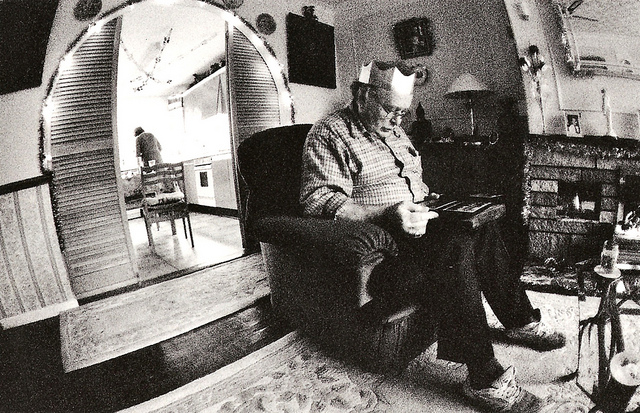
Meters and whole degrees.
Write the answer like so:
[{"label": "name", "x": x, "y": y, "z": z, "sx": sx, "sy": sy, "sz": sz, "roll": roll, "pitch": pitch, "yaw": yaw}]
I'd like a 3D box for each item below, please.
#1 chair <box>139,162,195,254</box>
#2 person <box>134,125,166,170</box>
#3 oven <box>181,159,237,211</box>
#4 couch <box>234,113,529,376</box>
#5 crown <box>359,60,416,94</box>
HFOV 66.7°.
[{"label": "chair", "x": -1.815, "y": -0.047, "z": 5.405, "sx": 0.716, "sy": 0.894, "sz": 0.770, "roll": -6, "pitch": 13, "yaw": -6}, {"label": "person", "x": -2.200, "y": -0.785, "z": 6.271, "sx": 0.312, "sy": 0.518, "sz": 0.985, "roll": -5, "pitch": 7, "yaw": -19}, {"label": "oven", "x": -1.418, "y": -0.352, "z": 7.095, "sx": 0.594, "sy": 0.659, "sz": 1.074, "roll": -7, "pitch": 4, "yaw": -43}, {"label": "couch", "x": 0.723, "y": 0.137, "z": 3.839, "sx": 2.213, "sy": 1.423, "sz": 1.665, "roll": -12, "pitch": 18, "yaw": -35}, {"label": "crown", "x": 0.423, "y": -0.815, "z": 3.139, "sx": 0.245, "sy": 0.199, "sz": 0.460, "roll": 9, "pitch": 14, "yaw": 43}]
